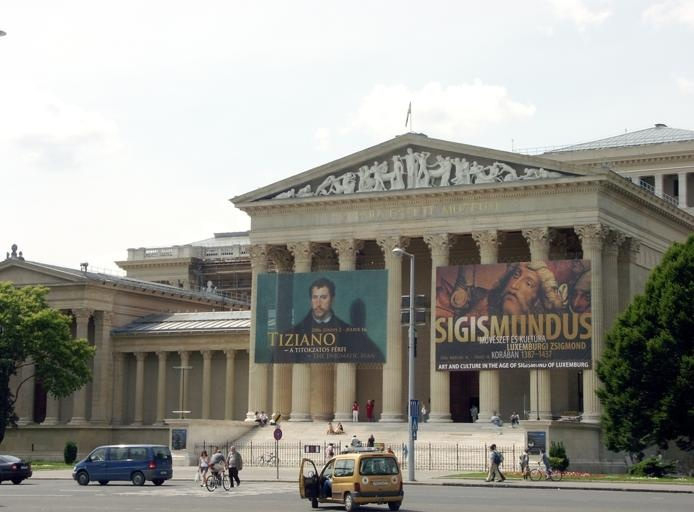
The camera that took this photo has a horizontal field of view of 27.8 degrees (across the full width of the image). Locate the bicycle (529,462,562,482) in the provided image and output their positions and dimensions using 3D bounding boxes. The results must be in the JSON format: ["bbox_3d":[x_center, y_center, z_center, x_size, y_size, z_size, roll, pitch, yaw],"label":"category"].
[{"bbox_3d":[11.901,13.072,85.429,1.836,0.978,0.856,2,-8,6],"label":"bicycle"}]

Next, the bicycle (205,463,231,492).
[{"bbox_3d":[-7.486,12.555,80.092,0.860,0.980,1.727,-2,0,38],"label":"bicycle"}]

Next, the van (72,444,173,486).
[{"bbox_3d":[-13.347,12.366,84.073,5.236,2.478,1.466,-3,-14,11],"label":"van"}]

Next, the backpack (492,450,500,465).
[{"bbox_3d":[8.679,11.812,83.480,0.451,0.799,0.905,-4,-14,15],"label":"backpack"}]

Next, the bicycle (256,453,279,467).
[{"bbox_3d":[-5.742,13.988,97.967,1.107,1.075,2.066,3,-13,-12],"label":"bicycle"}]
